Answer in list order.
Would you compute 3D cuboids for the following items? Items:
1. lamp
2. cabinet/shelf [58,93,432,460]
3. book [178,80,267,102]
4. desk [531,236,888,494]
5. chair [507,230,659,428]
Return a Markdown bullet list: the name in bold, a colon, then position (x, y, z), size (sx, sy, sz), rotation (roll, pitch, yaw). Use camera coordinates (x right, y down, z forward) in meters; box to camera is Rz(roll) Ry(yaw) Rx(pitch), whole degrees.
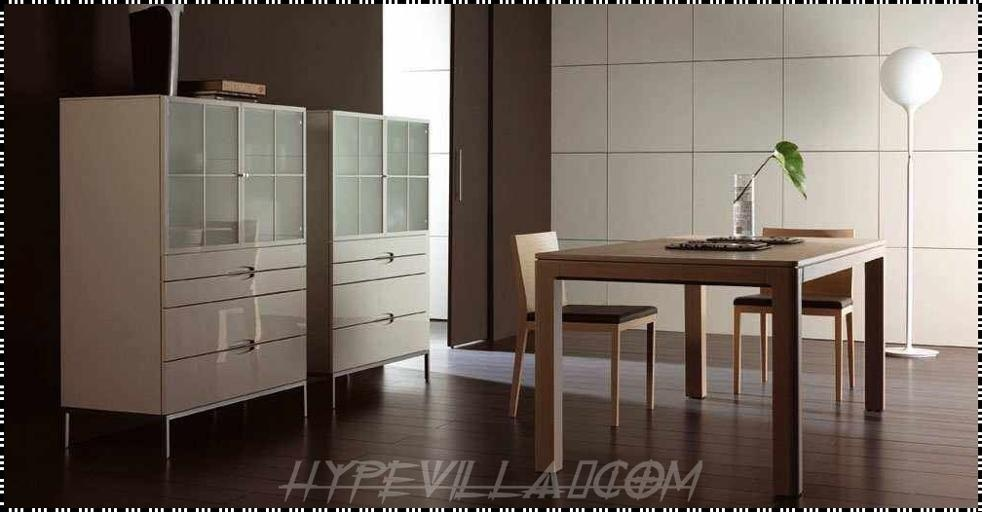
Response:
- **lamp**: position (4.217, -0.574, 7.080), size (0.666, 2.894, 0.637), rotation (-2, 2, -43)
- **cabinet/shelf**: position (-1.888, 0.181, 5.139), size (1.063, 2.255, 3.235), rotation (0, 1, 29)
- **book**: position (-1.989, -1.210, 5.124), size (0.359, 0.079, 0.409), rotation (1, 1, 43)
- **desk**: position (1.566, 0.279, 4.875), size (1.941, 1.283, 2.677), rotation (0, 1, 25)
- **chair**: position (0.706, 0.504, 5.462), size (0.969, 1.091, 0.789), rotation (5, 3, 27)
